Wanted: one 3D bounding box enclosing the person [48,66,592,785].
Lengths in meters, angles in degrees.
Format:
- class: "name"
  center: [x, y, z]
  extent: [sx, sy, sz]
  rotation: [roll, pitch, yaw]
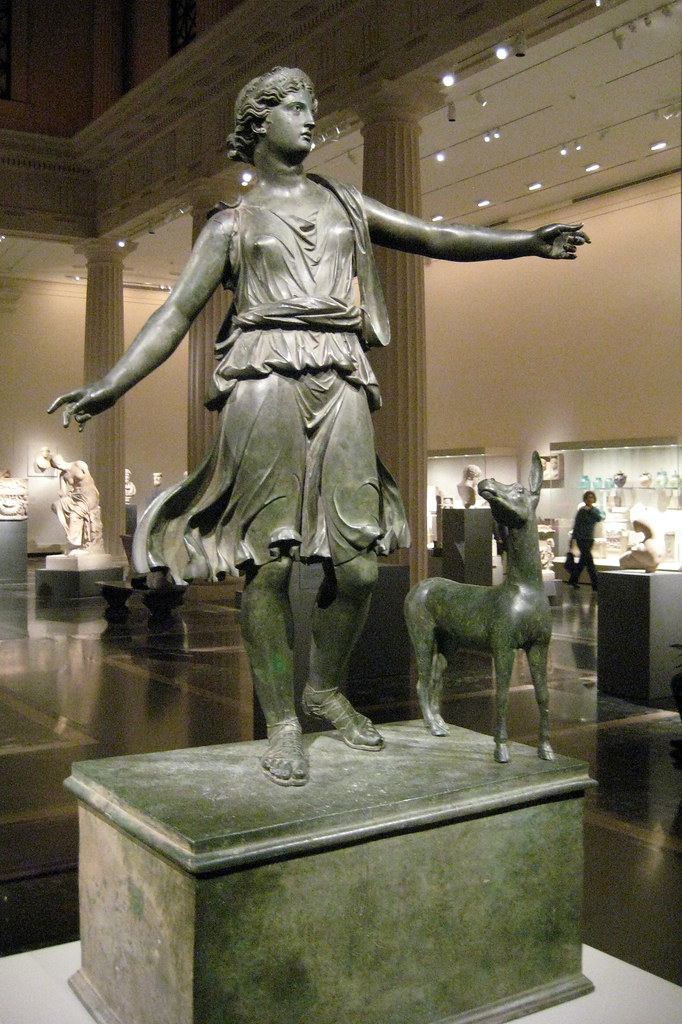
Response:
- class: "person"
  center: [-0.151, -0.287, 2.181]
  extent: [1.120, 1.841, 0.476]
  rotation: [0, -1, -41]
